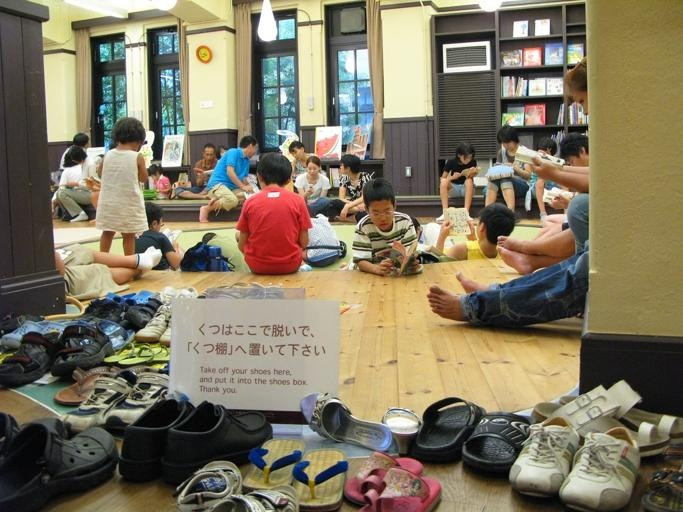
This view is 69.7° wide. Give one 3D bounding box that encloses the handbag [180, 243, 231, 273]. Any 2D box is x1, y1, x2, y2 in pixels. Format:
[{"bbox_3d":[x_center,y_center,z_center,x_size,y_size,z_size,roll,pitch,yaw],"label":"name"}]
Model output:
[{"bbox_3d":[-0.852,-0.012,3.030,0.221,0.100,0.194,4,10,15],"label":"handbag"}]
